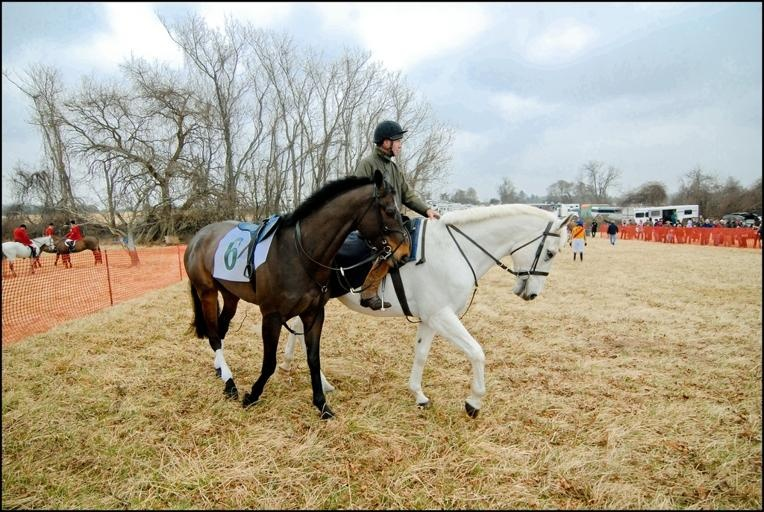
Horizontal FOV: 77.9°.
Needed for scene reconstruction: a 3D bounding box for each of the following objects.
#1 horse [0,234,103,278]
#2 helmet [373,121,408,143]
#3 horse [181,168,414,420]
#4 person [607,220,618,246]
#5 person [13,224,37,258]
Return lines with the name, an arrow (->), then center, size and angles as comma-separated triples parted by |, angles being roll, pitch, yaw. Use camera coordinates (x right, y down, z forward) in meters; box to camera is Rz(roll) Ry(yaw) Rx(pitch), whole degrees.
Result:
horse -> -11.046, -0.124, 15.516 | 2.125, 0.966, 3.474 | -2, 12, -11
helmet -> 0.098, -1.745, 6.745 | 0.395, 0.327, 0.303 | -1, 11, -4
horse -> -1.337, 0.478, 6.670 | 3.335, 3.278, 1.216 | 6, 13, 28
person -> 11.565, -1.110, 23.610 | 0.368, 1.218, 1.046 | 5, 12, 25
person -> -11.393, -0.465, 15.062 | 0.539, 0.871, 1.298 | -9, 14, -38
